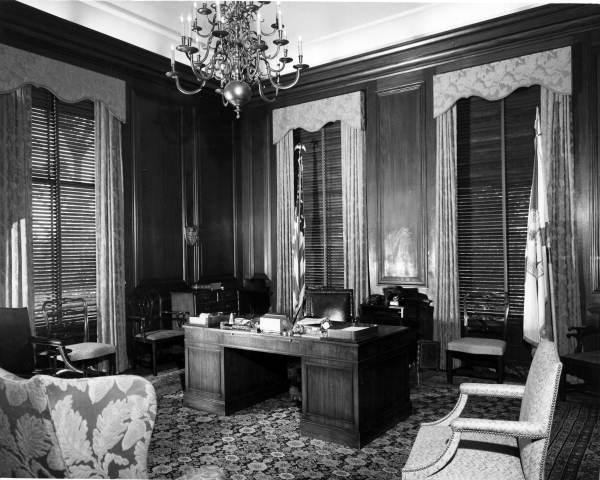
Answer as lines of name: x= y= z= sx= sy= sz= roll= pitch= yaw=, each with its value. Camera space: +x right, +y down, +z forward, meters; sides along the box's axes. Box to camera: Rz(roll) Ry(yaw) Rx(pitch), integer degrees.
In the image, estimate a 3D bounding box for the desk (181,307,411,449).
desk: x=-0.047 y=1.220 z=4.949 sx=2.038 sy=0.954 sz=0.816 roll=2 pitch=5 yaw=27
